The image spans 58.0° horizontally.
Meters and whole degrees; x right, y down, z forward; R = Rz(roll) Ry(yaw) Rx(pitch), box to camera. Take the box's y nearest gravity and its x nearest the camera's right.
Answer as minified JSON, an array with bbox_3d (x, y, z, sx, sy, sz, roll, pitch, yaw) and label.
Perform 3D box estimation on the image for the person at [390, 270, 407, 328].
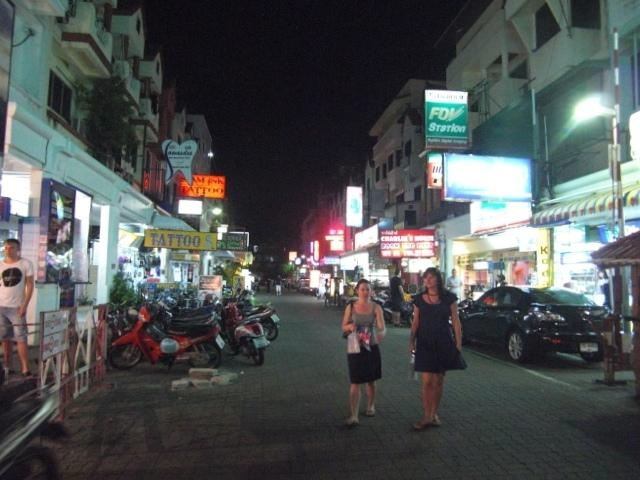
[{"bbox_3d":[2.907,2.272,21.660,0.543,1.951,1.067,1,3,8],"label":"person"}]

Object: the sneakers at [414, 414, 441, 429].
[{"bbox_3d":[1.787,3.019,9.543,0.500,0.141,0.188,-4,-14,-36],"label":"sneakers"}]

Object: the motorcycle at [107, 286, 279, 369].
[{"bbox_3d":[-2.982,2.254,13.707,3.206,2.101,1.818,3,-35,-3],"label":"motorcycle"}]

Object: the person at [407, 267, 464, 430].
[{"bbox_3d":[1.970,1.777,9.690,0.825,2.588,0.815,1,3,5],"label":"person"}]

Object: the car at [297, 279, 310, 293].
[{"bbox_3d":[-1.617,5.044,63.323,0.910,0.818,2.216,2,3,-5],"label":"car"}]

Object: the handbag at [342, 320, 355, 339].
[{"bbox_3d":[0.497,1.502,9.946,0.188,0.400,0.278,1,3,3],"label":"handbag"}]

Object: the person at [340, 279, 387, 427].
[{"bbox_3d":[0.722,1.861,9.911,0.700,2.317,0.967,2,3,25],"label":"person"}]
